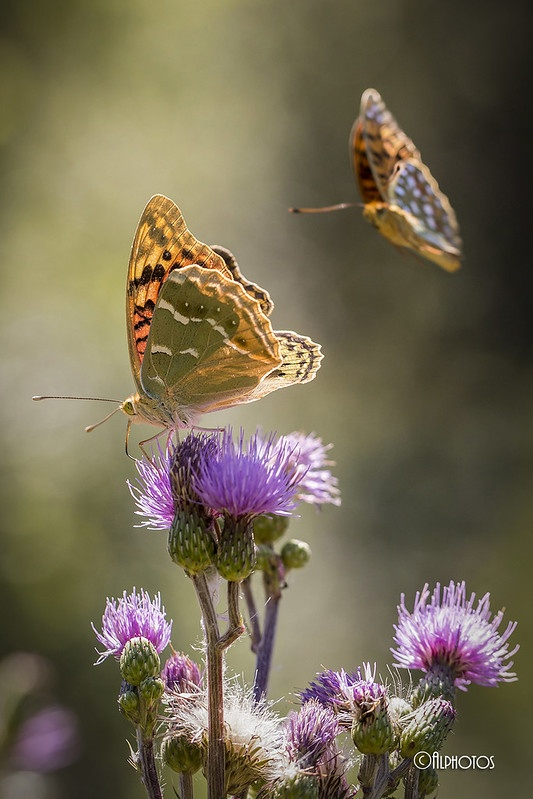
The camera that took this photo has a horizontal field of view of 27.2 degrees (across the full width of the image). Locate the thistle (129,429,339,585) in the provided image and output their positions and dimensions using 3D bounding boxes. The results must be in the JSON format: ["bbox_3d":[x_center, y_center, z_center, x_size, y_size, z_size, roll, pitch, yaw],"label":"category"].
[{"bbox_3d":[-0.051,0.192,2.376,0.392,0.325,0.388,-8,-7,-14],"label":"thistle"}]

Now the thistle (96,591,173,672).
[{"bbox_3d":[-0.278,0.471,2.301,0.149,0.155,0.149,9,22,20],"label":"thistle"}]

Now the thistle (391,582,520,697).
[{"bbox_3d":[0.382,0.488,2.297,0.268,0.226,0.251,1,-16,0],"label":"thistle"}]

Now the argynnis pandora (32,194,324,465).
[{"bbox_3d":[-0.196,-0.230,2.718,0.639,0.500,0.619,-6,-23,5],"label":"argynnis pandora"}]
